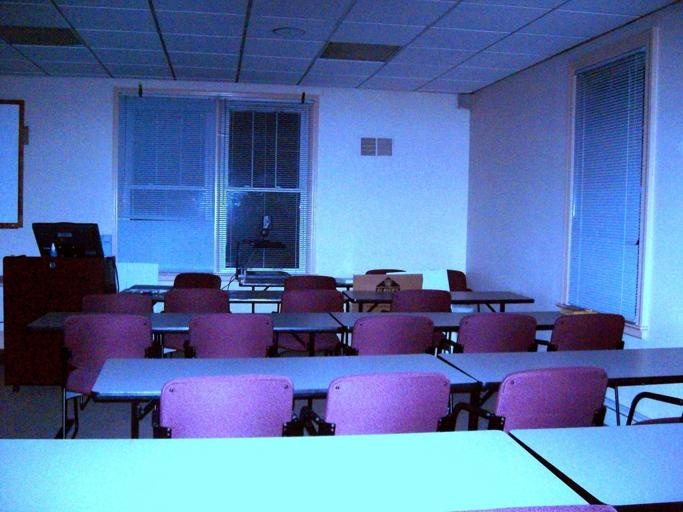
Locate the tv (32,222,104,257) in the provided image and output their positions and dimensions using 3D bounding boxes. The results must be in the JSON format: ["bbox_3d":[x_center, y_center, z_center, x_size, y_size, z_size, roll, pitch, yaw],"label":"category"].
[{"bbox_3d":[-2.408,-0.118,5.079,0.621,0.291,0.545,-1,-4,-1],"label":"tv"}]
